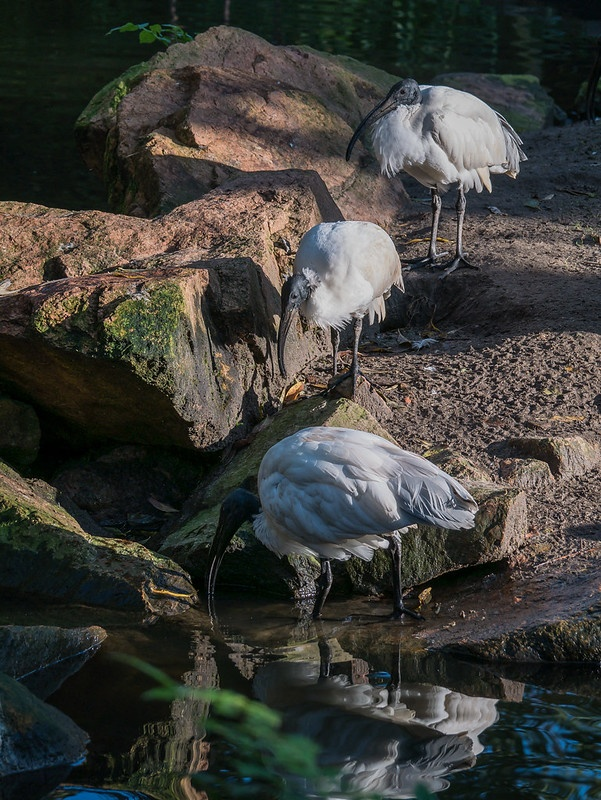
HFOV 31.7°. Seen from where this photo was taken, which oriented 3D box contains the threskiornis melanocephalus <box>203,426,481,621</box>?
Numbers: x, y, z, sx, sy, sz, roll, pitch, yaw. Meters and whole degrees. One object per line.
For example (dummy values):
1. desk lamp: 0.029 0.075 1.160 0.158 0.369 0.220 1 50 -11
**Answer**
1. threskiornis melanocephalus: 0.190 0.631 5.177 1.409 0.832 0.621 -4 -7 21
